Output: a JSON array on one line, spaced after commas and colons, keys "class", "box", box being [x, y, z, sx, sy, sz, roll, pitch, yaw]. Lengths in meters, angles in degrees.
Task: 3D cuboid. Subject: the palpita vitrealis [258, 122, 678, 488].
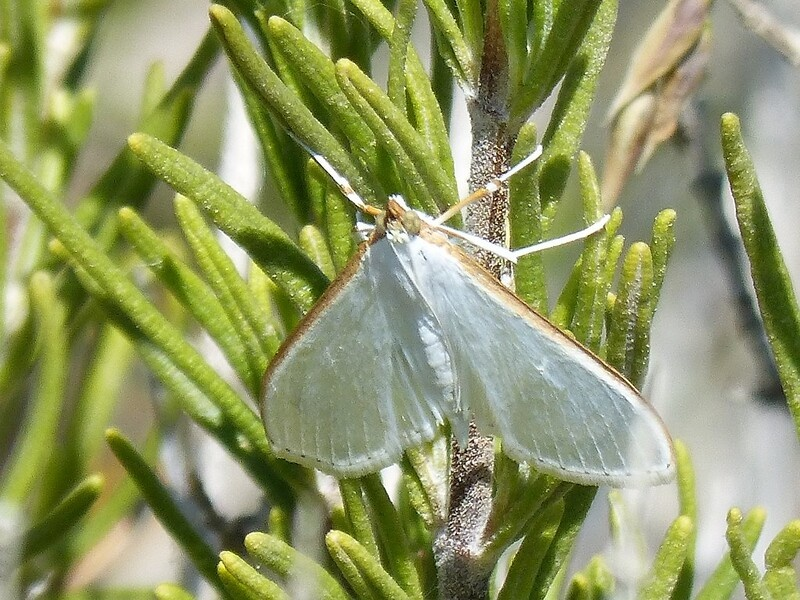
[{"class": "palpita vitrealis", "box": [0.050, 0.008, 1.462, 0.486, 0.395, 0.150, 1, 18, 27]}]
